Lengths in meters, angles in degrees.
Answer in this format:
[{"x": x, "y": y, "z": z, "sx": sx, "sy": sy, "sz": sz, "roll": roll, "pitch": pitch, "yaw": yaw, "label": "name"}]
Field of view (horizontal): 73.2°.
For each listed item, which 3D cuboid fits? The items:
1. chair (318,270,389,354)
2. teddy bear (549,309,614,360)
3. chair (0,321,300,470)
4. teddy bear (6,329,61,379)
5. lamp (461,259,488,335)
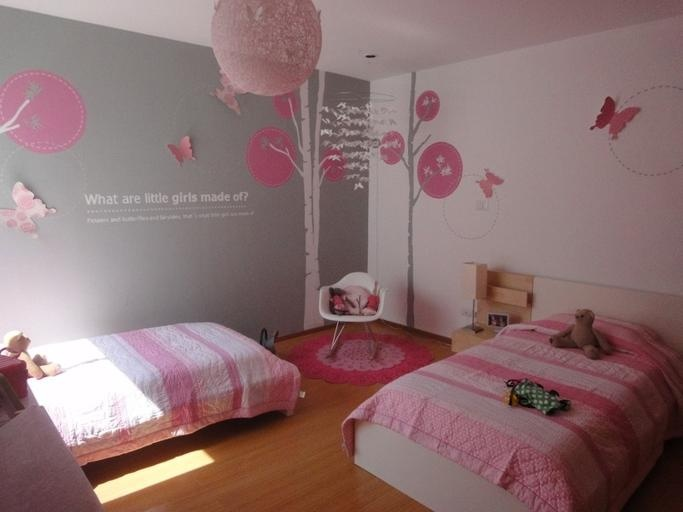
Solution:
[{"x": 0.131, "y": 0.601, "z": 5.180, "sx": 0.649, "sy": 0.837, "sz": 0.736, "roll": 1, "pitch": 10, "yaw": 15, "label": "chair"}, {"x": 1.933, "y": 0.607, "z": 3.719, "sx": 0.313, "sy": 0.363, "sz": 0.465, "roll": -12, "pitch": 12, "yaw": -33, "label": "teddy bear"}, {"x": -1.460, "y": 1.053, "z": 3.700, "sx": 1.702, "sy": 0.681, "sz": 1.177, "roll": -11, "pitch": 18, "yaw": -37, "label": "chair"}, {"x": -2.197, "y": 0.697, "z": 3.254, "sx": 0.231, "sy": 0.287, "sz": 0.223, "roll": -19, "pitch": 16, "yaw": -40, "label": "teddy bear"}, {"x": 1.413, "y": 0.438, "z": 4.822, "sx": 0.182, "sy": 0.682, "sz": 0.186, "roll": 6, "pitch": -1, "yaw": 29, "label": "lamp"}]
